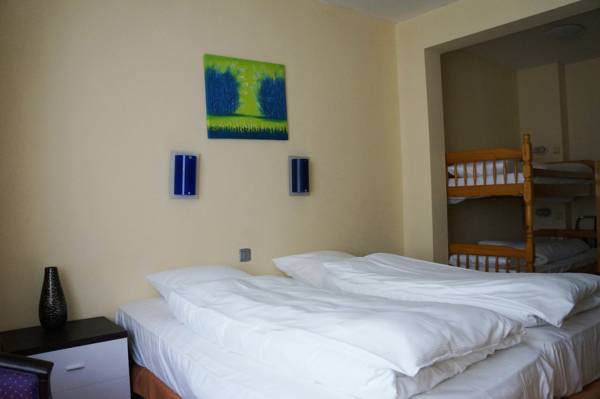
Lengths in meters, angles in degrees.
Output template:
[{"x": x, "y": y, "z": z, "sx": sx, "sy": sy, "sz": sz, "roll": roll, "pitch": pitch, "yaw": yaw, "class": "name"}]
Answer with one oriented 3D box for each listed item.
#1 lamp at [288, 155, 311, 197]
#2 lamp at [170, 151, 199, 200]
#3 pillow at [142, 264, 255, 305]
[{"x": 0.022, "y": -0.216, "z": 4.297, "sx": 0.241, "sy": 0.366, "sz": 0.100, "roll": -2, "pitch": 1, "yaw": -32, "class": "lamp"}, {"x": -0.965, "y": -0.199, "z": 3.785, "sx": 0.214, "sy": 0.280, "sz": 0.086, "roll": -2, "pitch": 1, "yaw": -31, "class": "lamp"}, {"x": -0.901, "y": 0.726, "z": 3.751, "sx": 0.618, "sy": 0.288, "sz": 0.955, "roll": 6, "pitch": -2, "yaw": -25, "class": "pillow"}]
